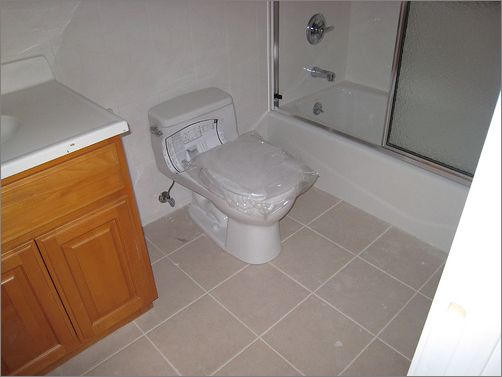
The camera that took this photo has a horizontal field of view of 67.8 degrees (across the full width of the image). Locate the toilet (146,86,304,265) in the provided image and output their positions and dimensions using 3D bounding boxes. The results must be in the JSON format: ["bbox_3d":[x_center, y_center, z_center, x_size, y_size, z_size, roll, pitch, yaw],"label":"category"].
[{"bbox_3d":[-0.111,-0.058,1.953,0.744,0.707,0.472,27,42,31],"label":"toilet"}]

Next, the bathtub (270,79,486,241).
[{"bbox_3d":[0.707,-0.205,2.242,1.214,0.440,0.459,34,53,30],"label":"bathtub"}]
